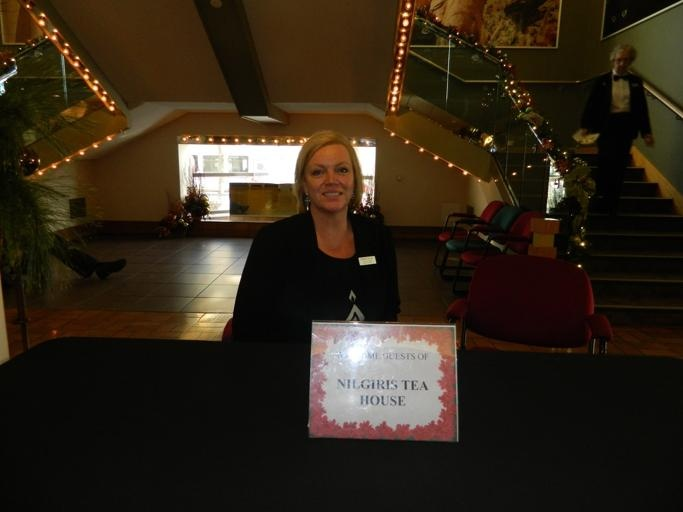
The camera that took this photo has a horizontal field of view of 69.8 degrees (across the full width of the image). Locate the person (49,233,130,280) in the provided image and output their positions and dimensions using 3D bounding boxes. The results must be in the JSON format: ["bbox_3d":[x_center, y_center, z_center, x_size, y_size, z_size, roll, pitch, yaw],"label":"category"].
[{"bbox_3d":[-3.160,0.009,6.003,0.930,0.480,0.302,-3,14,-5],"label":"person"}]

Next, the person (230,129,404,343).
[{"bbox_3d":[-0.108,-0.098,2.121,0.728,0.867,0.418,-1,10,-10],"label":"person"}]

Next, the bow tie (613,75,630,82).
[{"bbox_3d":[3.139,-1.991,5.443,0.142,0.048,0.026,3,10,12],"label":"bow tie"}]

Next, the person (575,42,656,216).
[{"bbox_3d":[3.155,-1.432,5.610,0.761,1.860,0.328,5,11,27],"label":"person"}]
